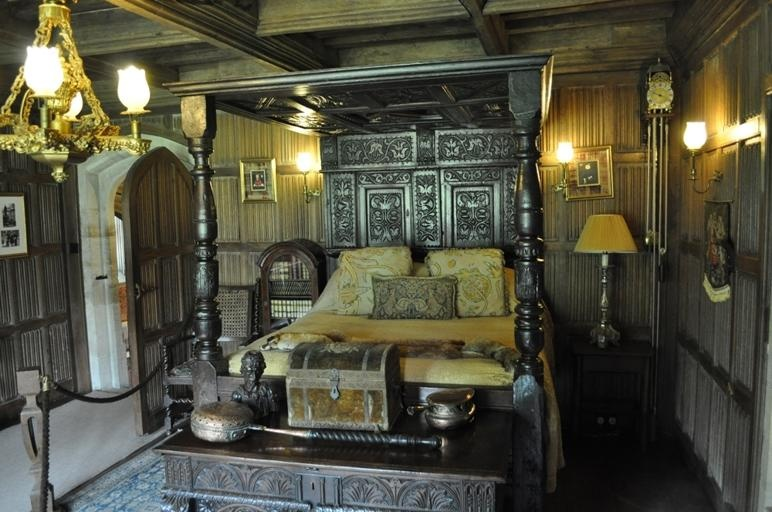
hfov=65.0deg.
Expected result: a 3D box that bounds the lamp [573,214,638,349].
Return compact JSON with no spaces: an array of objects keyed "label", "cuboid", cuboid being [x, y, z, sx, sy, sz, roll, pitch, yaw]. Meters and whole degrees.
[{"label":"lamp","cuboid":[2.257,0.234,6.253,0.580,1.356,0.531,0,3,22]}]

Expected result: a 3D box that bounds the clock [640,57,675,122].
[{"label":"clock","cuboid":[2.668,-1.638,5.921,0.278,0.515,0.328,1,3,25]}]

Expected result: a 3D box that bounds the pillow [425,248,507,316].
[{"label":"pillow","cuboid":[0.872,0.237,5.975,0.691,0.664,0.315,-1,-21,8]}]

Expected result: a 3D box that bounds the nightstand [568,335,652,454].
[{"label":"nightstand","cuboid":[2.242,1.409,6.364,1.013,1.275,0.879,1,5,4]}]

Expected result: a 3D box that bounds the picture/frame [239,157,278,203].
[{"label":"picture/frame","cuboid":[-1.623,-0.978,7.684,0.600,0.625,0.049,0,3,9]}]
